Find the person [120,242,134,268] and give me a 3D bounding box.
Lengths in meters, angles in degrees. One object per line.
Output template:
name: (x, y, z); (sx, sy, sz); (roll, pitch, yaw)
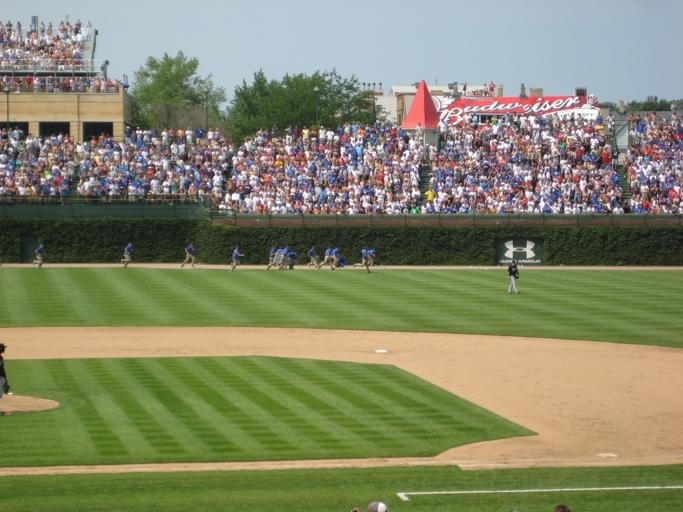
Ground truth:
person: (-14.082, -0.071, 129.807); (0.738, 1.438, 2.119); (0, 3, -5)
